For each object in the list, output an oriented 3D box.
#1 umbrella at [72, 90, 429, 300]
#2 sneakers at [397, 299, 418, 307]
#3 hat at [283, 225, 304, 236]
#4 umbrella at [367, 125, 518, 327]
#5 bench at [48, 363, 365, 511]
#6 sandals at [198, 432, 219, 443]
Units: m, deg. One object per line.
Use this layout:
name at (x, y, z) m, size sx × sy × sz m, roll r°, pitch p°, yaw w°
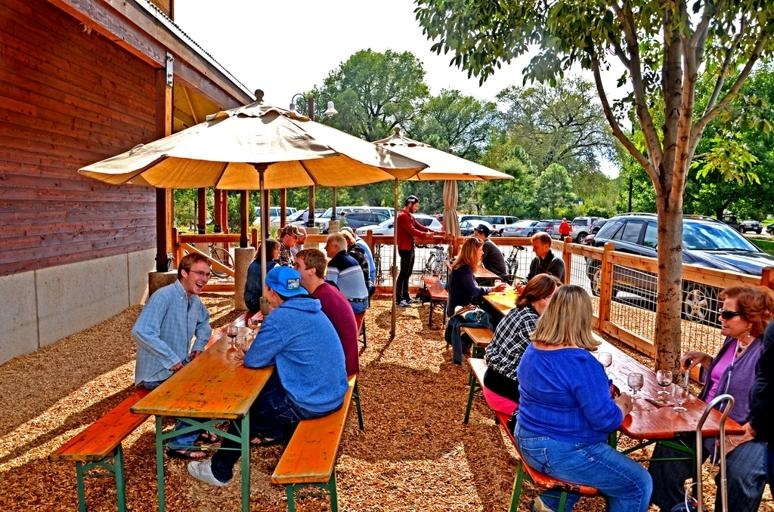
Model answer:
umbrella at (-1.745, -0.957, 7.674) m, size 3.531 × 2.499 × 3.150 m, roll -2°, pitch 8°, yaw -27°
sneakers at (0.503, 1.076, 13.284) m, size 0.547 × 0.234 × 0.172 m, roll -2°, pitch 2°, yaw -4°
hat at (-1.728, -0.458, 10.667) m, size 0.241 × 0.126 × 0.374 m, roll 1°, pitch 1°, yaw 25°
umbrella at (1.027, -0.968, 12.037) m, size 3.081 × 2.535 × 3.130 m, roll 0°, pitch 10°, yaw 5°
bench at (-2.255, 1.925, 6.006) m, size 1.908 × 1.410 × 0.984 m, roll 2°, pitch 7°, yaw -2°
sandals at (-2.156, 2.208, 7.034) m, size 0.217 × 0.056 × 0.203 m, roll 8°, pitch 1°, yaw 35°
